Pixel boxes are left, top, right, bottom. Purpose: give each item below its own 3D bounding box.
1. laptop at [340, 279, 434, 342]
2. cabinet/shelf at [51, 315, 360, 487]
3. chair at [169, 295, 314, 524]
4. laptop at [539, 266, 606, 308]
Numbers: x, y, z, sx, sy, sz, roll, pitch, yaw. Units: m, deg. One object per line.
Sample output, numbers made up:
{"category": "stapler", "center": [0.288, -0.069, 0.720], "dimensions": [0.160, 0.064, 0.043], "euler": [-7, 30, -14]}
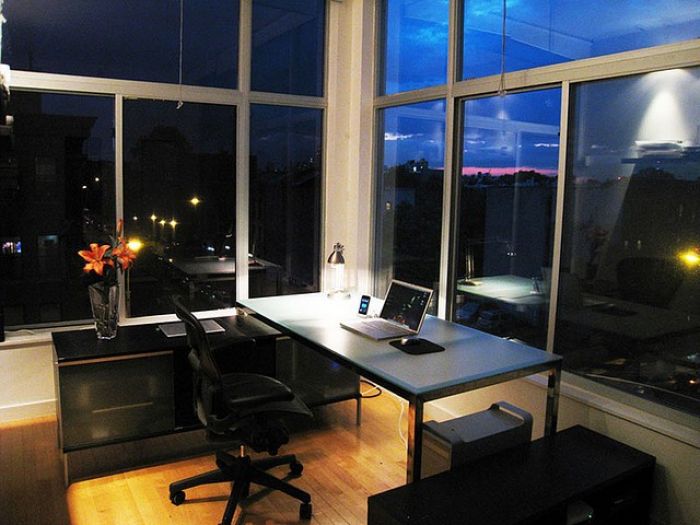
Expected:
{"category": "laptop", "center": [0.296, 0.368, 4.266], "dimensions": [0.476, 0.329, 0.488], "euler": [1, 8, -32]}
{"category": "cabinet/shelf", "center": [-1.074, 0.826, 4.806], "dimensions": [2.318, 0.784, 0.748], "euler": [-3, 15, -30]}
{"category": "chair", "center": [-0.780, 0.930, 4.384], "dimensions": [1.254, 1.701, 1.262], "euler": [-3, 9, -20]}
{"category": "laptop", "center": [1.512, 0.163, 4.069], "dimensions": [0.251, 0.233, 0.347], "euler": [-5, 10, -27]}
